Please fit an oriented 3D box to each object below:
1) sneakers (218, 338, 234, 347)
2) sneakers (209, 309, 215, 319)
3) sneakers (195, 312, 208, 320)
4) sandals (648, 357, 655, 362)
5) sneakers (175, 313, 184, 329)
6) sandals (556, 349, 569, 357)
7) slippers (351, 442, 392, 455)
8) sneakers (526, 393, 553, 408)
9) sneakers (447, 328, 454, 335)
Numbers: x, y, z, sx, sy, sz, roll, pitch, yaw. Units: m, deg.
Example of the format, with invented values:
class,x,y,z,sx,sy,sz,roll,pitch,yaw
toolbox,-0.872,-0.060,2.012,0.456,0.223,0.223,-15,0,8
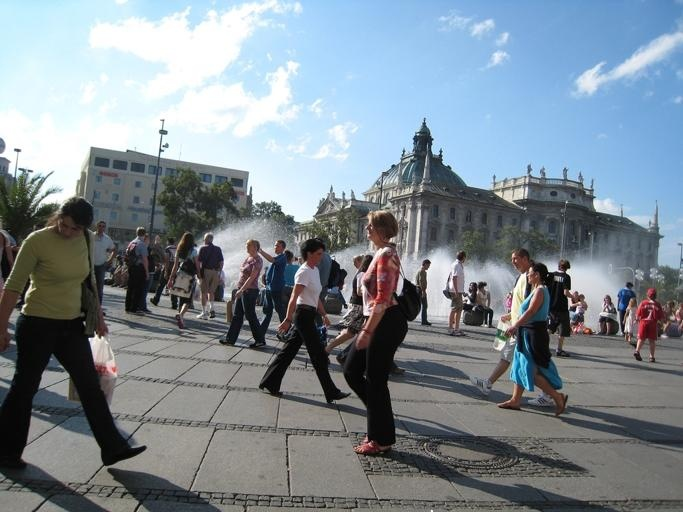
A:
class,x,y,z,sx,sy,sz,roll,pitch,yaw
sneakers,-2.235,1.691,8.418,0.212,0.094,0.074,25,-12,13
sneakers,-3.698,1.679,12.339,0.176,0.258,0.142,11,-40,-16
sneakers,-3.874,1.645,11.970,0.174,0.220,0.488,1,6,-33
sandals,7.565,2.546,10.568,0.086,0.101,0.222,-4,-20,26
sneakers,-3.701,1.490,9.792,0.178,0.443,0.185,-4,22,-7
sandals,5.377,2.370,10.495,0.361,0.164,0.137,3,-2,-13
slippers,0.285,1.779,4.019,0.335,0.152,0.131,6,-12,-3
sneakers,2.836,2.104,6.287,0.367,0.227,0.150,1,-11,11
sneakers,3.229,2.251,12.814,0.120,0.162,0.161,8,-11,-43
